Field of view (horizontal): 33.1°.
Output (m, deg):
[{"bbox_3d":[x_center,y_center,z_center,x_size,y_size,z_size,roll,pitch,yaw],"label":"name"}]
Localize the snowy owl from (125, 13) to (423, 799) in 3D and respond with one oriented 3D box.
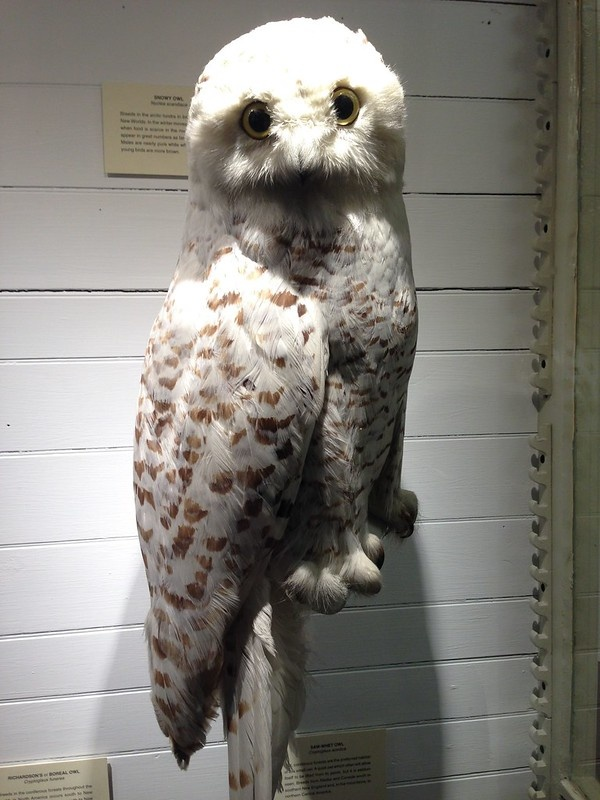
[{"bbox_3d":[-0.019,0.033,1.386,0.375,1.001,0.488,2,-18,-14],"label":"snowy owl"}]
